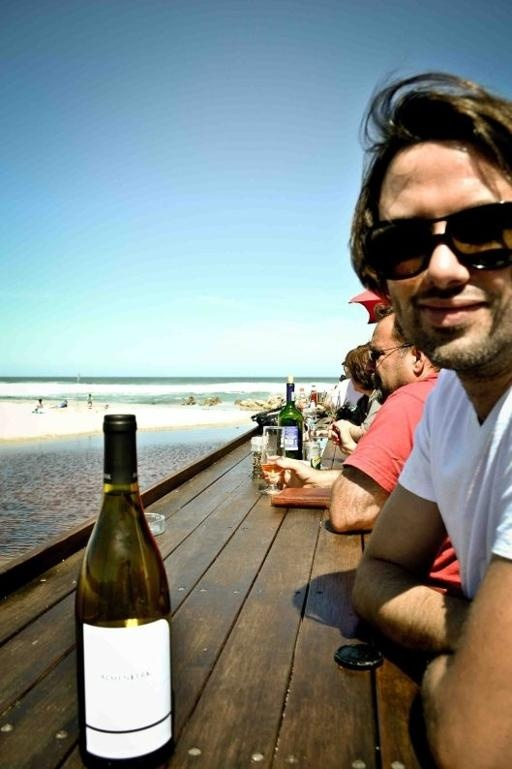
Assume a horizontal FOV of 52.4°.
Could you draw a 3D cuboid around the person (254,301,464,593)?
[{"bbox_3d":[0.417,0.306,2.112,0.449,0.518,1.313,12,44,20],"label":"person"}]
